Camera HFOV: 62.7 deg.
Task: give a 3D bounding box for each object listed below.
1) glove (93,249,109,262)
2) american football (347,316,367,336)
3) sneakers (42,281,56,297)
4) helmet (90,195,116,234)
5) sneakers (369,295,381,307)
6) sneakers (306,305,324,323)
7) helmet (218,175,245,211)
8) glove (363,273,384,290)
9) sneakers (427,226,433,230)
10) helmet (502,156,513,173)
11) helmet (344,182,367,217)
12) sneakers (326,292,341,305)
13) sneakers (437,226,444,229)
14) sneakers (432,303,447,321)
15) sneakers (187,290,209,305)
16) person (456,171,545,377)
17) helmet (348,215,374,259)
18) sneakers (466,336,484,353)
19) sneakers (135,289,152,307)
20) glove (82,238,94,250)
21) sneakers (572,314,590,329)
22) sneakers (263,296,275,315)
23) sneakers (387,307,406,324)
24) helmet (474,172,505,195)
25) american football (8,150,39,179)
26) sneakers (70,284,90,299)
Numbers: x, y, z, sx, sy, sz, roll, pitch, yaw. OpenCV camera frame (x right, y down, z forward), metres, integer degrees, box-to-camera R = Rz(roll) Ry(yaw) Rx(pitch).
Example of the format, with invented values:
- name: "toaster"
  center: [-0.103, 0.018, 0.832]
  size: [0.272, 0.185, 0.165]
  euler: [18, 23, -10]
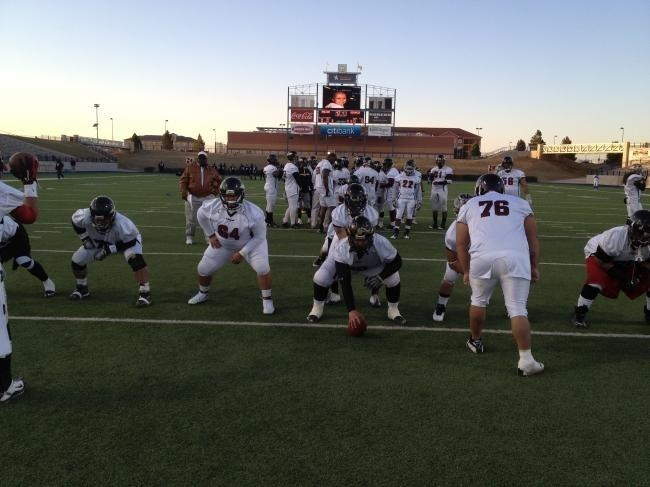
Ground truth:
- name: "glove"
  center: [-2.960, 0.153, 7.054]
  size: [0.168, 0.195, 0.372]
  euler: [-5, 13, -25]
- name: "american football"
  center: [0.359, 0.890, 5.853]
  size: [0.196, 0.188, 0.209]
  euler: [27, 7, 35]
- name: "sneakers"
  center: [-3.722, 0.581, 7.202]
  size: [0.139, 0.209, 0.293]
  euler: [-5, 13, -27]
- name: "helmet"
  center: [-2.735, -0.375, 6.621]
  size: [0.328, 0.416, 0.399]
  euler: [-2, -30, -7]
- name: "sneakers"
  center: [0.687, 0.745, 7.182]
  size: [0.157, 0.165, 0.244]
  euler: [1, 11, 4]
- name: "sneakers"
  center: [-0.112, 0.814, 6.445]
  size: [0.195, 0.226, 0.312]
  euler: [0, 11, -3]
- name: "helmet"
  center: [-1.160, -0.689, 6.793]
  size: [0.322, 0.376, 0.426]
  euler: [0, 34, -5]
- name: "glove"
  center: [0.588, 0.464, 6.325]
  size: [0.192, 0.198, 0.197]
  euler: [-5, 13, -28]
- name: "sneakers"
  center: [3.023, -0.432, 15.250]
  size: [0.097, 0.107, 0.258]
  euler: [-1, -3, 10]
- name: "helmet"
  center: [4.318, -1.868, 12.557]
  size: [0.292, 0.367, 0.376]
  euler: [4, 10, 25]
- name: "helmet"
  center: [0.358, -0.556, 6.627]
  size: [0.297, 0.369, 0.321]
  euler: [0, -28, -5]
- name: "sneakers"
  center: [0.131, 0.739, 7.326]
  size: [0.191, 0.112, 0.283]
  euler: [1, 11, 4]
- name: "sneakers"
  center: [3.348, -0.450, 15.362]
  size: [0.095, 0.105, 0.278]
  euler: [-1, -1, 17]
- name: "sneakers"
  center: [1.426, 0.823, 6.606]
  size: [0.161, 0.192, 0.399]
  euler: [3, 12, 13]
- name: "sneakers"
  center: [-1.656, 0.708, 7.072]
  size: [0.119, 0.142, 0.330]
  euler: [2, 2, 24]
- name: "person"
  center: [1.685, 0.357, 5.113]
  size: [0.918, 1.618, 0.594]
  euler: [7, 13, 28]
- name: "helmet"
  center: [0.412, -0.050, 5.982]
  size: [0.284, 0.511, 0.344]
  euler: [1, 11, 2]
- name: "sneakers"
  center: [1.566, 1.038, 5.539]
  size: [0.093, 0.105, 0.249]
  euler: [0, 4, -2]
- name: "sneakers"
  center: [-2.336, 0.689, 6.878]
  size: [0.184, 0.184, 0.265]
  euler: [-3, 12, -17]
- name: "glove"
  center: [-3.155, 0.004, 7.055]
  size: [0.116, 0.150, 0.133]
  euler: [-8, 8, -6]
- name: "sneakers"
  center: [3.095, 0.925, 6.405]
  size: [0.105, 0.185, 0.280]
  euler: [0, -1, 1]
- name: "sneakers"
  center: [-0.709, 0.780, 6.689]
  size: [0.212, 0.238, 0.573]
  euler: [-1, -1, -7]
- name: "sneakers"
  center: [0.878, 0.856, 6.467]
  size: [0.221, 0.170, 0.339]
  euler: [2, 11, 5]
- name: "helmet"
  center: [1.663, -0.589, 5.430]
  size: [0.226, 0.257, 0.263]
  euler: [7, 3, 4]
- name: "american football"
  center: [-2.945, -0.752, 5.198]
  size: [0.258, 0.322, 0.329]
  euler: [-1, 1, -7]
- name: "sneakers"
  center: [-3.260, 0.628, 7.114]
  size: [0.184, 0.169, 0.329]
  euler: [-1, 11, -7]
